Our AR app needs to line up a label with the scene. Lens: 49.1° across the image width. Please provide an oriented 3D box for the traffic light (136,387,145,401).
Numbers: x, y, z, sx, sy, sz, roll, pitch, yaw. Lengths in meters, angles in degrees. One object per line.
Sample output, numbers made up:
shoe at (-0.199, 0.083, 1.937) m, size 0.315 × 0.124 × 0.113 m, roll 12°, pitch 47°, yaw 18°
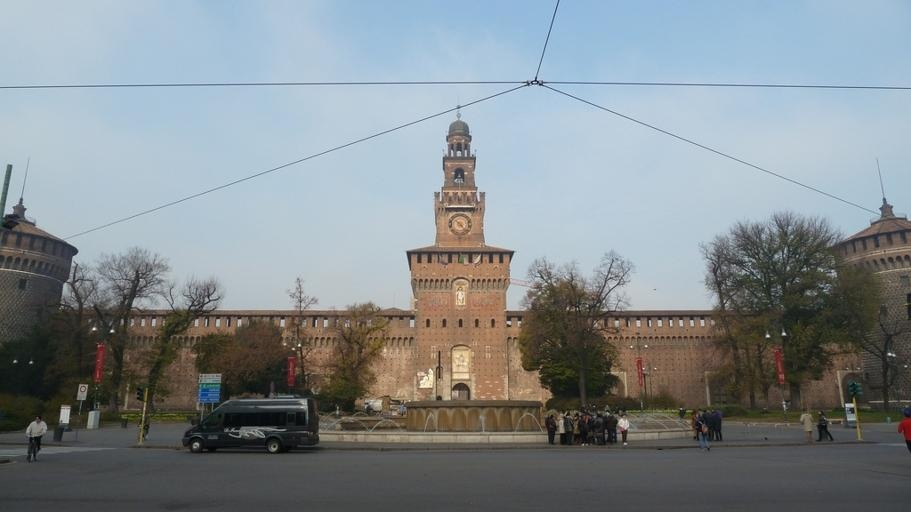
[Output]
traffic light at (-27.614, 12.095, 87.212) m, size 0.626 × 0.823 × 1.203 m, roll 6°, pitch -18°, yaw -20°

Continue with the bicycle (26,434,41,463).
bicycle at (-32.869, 15.044, 77.650) m, size 0.827 × 1.909 × 1.276 m, roll 8°, pitch -19°, yaw -26°

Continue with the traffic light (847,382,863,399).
traffic light at (34.646, 11.722, 86.964) m, size 0.863 × 1.382 × 1.038 m, roll -4°, pitch -17°, yaw 12°
